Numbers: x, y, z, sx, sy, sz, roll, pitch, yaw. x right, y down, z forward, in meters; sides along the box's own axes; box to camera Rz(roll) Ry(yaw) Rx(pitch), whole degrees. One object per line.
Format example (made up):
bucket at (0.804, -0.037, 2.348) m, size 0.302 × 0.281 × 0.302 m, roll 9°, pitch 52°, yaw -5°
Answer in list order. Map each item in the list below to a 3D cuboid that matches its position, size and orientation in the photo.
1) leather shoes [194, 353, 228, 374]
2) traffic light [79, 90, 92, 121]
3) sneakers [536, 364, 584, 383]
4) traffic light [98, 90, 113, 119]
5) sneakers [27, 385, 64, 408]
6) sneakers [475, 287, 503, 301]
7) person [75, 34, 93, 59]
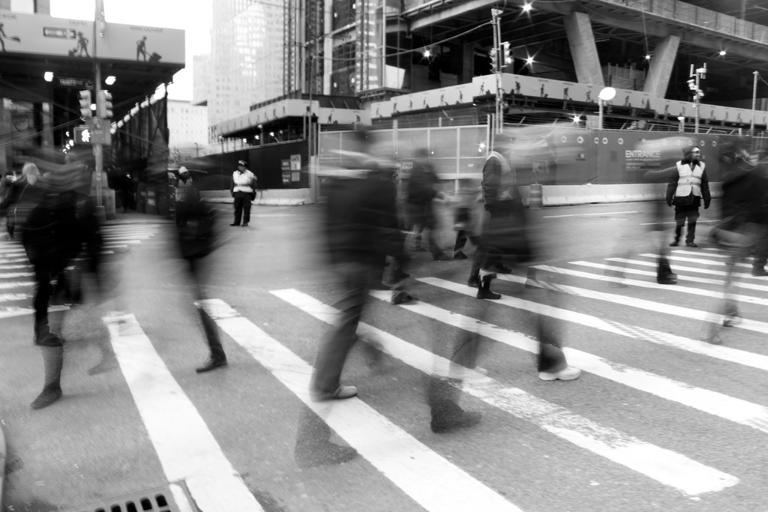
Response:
leather shoes at (-1.970, 1.257, 7.130) m, size 0.365 × 0.227 × 0.137 m, roll -2°, pitch 0°, yaw -34°
traffic light at (-11.451, -5.791, 23.810) m, size 0.360 × 1.061 × 0.779 m, roll -8°, pitch 15°, yaw -27°
sneakers at (1.929, 1.290, 6.800) m, size 0.347 × 0.127 × 0.201 m, roll -4°, pitch 1°, yaw 3°
traffic light at (-10.959, -5.949, 24.331) m, size 0.470 × 1.091 × 1.362 m, roll -6°, pitch 14°, yaw -20°
sneakers at (-3.472, 1.458, 6.367) m, size 0.297 × 0.184 × 0.203 m, roll -9°, pitch 15°, yaw -32°
sneakers at (1.649, 0.621, 9.657) m, size 0.455 × 0.281 × 0.155 m, roll -8°, pitch 16°, yaw -21°
person at (-15.060, -10.494, 30.583) m, size 0.956 × 1.184 × 0.305 m, roll -5°, pitch 14°, yaw -15°
